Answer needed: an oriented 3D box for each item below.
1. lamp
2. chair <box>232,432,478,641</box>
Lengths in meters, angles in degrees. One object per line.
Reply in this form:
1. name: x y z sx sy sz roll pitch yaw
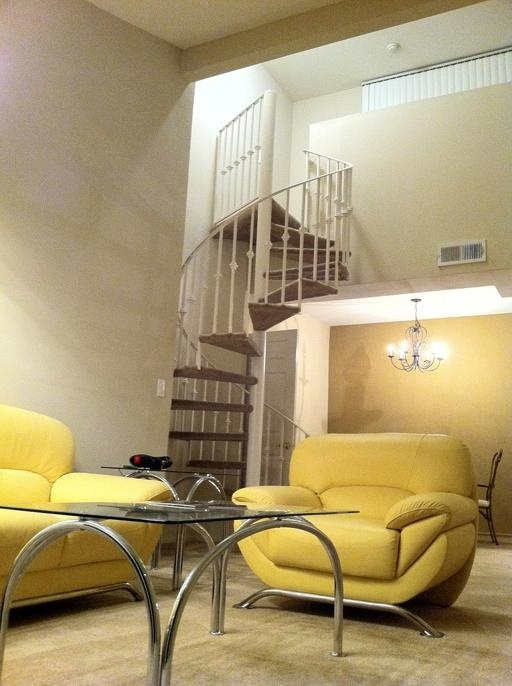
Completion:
1. lamp: 2.086 -0.093 7.419 0.899 1.019 0.873 -2 -18 11
2. chair: 0.507 0.855 2.760 1.090 0.780 0.679 -10 -14 38
